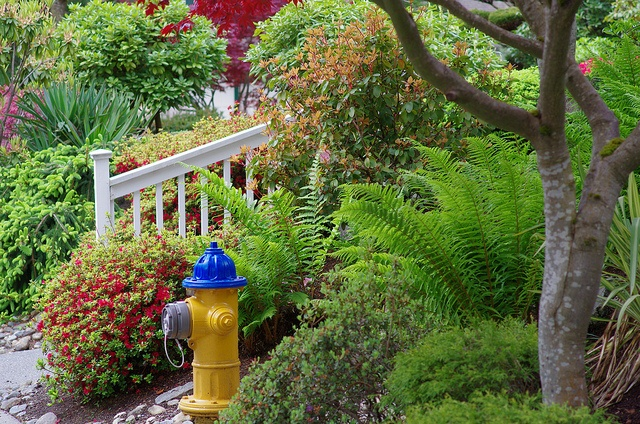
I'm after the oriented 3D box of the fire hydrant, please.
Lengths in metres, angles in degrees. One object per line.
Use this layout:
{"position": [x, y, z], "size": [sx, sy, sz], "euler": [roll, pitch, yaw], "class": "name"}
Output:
{"position": [-0.843, 0.877, 4.870], "size": [0.606, 1.310, 0.272], "euler": [-2, -6, -15], "class": "fire hydrant"}
